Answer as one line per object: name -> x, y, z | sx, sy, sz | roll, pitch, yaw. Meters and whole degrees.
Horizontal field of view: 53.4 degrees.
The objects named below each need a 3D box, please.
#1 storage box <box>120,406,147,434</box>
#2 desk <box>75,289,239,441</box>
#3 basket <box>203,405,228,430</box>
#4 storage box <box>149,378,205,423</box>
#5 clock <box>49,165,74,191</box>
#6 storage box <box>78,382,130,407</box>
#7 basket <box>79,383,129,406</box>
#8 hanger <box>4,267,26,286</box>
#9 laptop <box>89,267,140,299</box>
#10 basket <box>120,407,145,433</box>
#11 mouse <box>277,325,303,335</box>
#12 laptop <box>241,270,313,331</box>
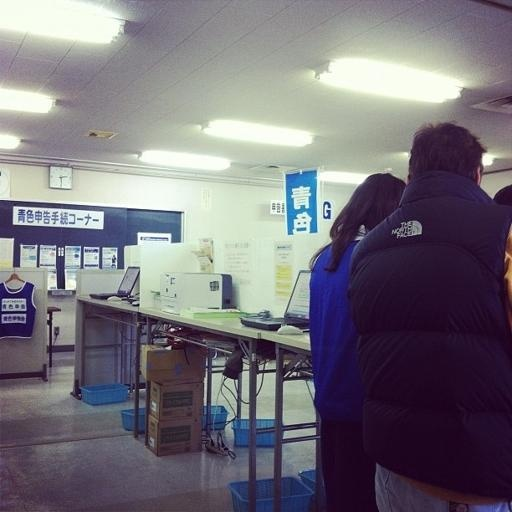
storage box -> -0.993, 1.352, 4.159 | 0.158, 0.111, 0.227 | 6, -9, -30
desk -> -1.133, 0.952, 5.320 | 1.090, 1.150, 1.633 | 8, -11, -35
basket -> -0.318, 1.323, 4.150 | 0.183, 0.092, 0.263 | 1, -5, -5
storage box -> -0.549, 0.975, 3.658 | 0.407, 0.256, 0.229 | 5, -12, -29
clock -> -2.925, -1.167, 7.584 | 0.397, 0.453, 0.062 | -3, 4, -35
storage box -> -1.502, 1.384, 5.057 | 0.336, 0.108, 0.217 | 2, -3, -30
basket -> -1.499, 1.387, 5.051 | 0.336, 0.108, 0.218 | 2, -3, -29
hanger -> -2.882, 0.251, 6.064 | 0.217, 0.147, 0.008 | 0, 4, -27
laptop -> -1.422, 0.295, 5.150 | 0.398, 0.324, 0.443 | 4, -5, -27
basket -> -0.994, 1.347, 4.155 | 0.158, 0.113, 0.227 | 5, -9, -29
mouse -> 0.162, 0.358, 2.487 | 0.091, 0.029, 0.049 | 0, 1, -16
laptop -> 0.123, 0.278, 2.848 | 0.327, 0.304, 0.365 | 4, -7, -19
